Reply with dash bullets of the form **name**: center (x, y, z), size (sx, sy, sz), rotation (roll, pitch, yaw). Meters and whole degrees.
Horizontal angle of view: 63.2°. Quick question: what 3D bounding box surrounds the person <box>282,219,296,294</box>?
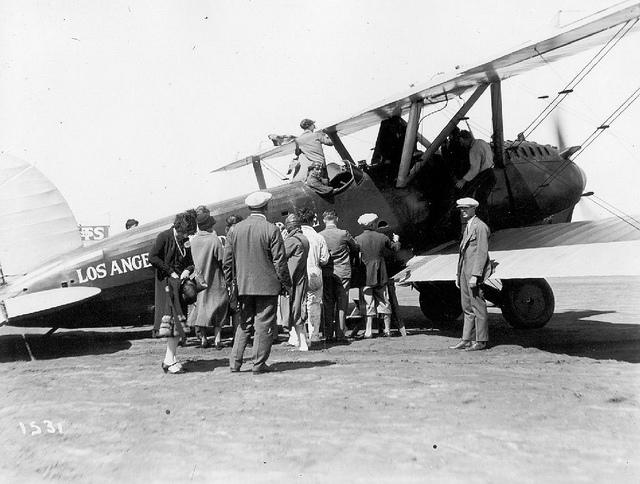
- **person**: center (-0.456, 0.213, 7.763), size (0.306, 1.108, 0.236), rotation (1, 1, -38)

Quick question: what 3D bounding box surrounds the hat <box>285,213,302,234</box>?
- **hat**: center (-0.418, -0.318, 8.143), size (0.204, 0.291, 0.277), rotation (0, 6, -5)

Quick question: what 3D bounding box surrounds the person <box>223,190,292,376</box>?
- **person**: center (-0.849, 0.603, 6.573), size (0.744, 2.246, 0.844), rotation (12, 19, 40)

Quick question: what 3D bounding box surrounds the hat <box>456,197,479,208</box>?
- **hat**: center (2.437, -0.662, 8.613), size (0.321, 0.107, 0.337), rotation (1, -1, -1)

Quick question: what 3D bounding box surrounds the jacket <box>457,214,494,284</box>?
- **jacket**: center (2.424, 0.099, 7.994), size (0.434, 0.930, 0.590), rotation (-5, 15, -18)

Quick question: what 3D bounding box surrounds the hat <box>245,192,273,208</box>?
- **hat**: center (-0.801, -0.569, 6.855), size (0.276, 0.166, 0.361), rotation (1, 15, 5)

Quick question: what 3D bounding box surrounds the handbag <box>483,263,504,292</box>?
- **handbag**: center (2.844, 0.565, 8.472), size (0.143, 0.665, 0.430), rotation (20, 51, 33)

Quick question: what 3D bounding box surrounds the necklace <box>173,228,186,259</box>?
- **necklace**: center (-1.994, 0.023, 7.419), size (0.018, 0.348, 0.245), rotation (-23, -10, 18)

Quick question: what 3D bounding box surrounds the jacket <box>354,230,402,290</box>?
- **jacket**: center (1.010, 0.292, 9.321), size (0.805, 1.703, 0.635), rotation (4, 20, 11)

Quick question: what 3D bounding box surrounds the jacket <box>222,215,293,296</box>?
- **jacket**: center (-0.827, 0.189, 6.526), size (0.733, 0.863, 0.526), rotation (10, 18, 35)

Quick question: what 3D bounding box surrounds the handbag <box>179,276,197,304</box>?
- **handbag**: center (-1.732, 0.646, 6.856), size (0.236, 0.306, 0.326), rotation (-1, -14, -24)
